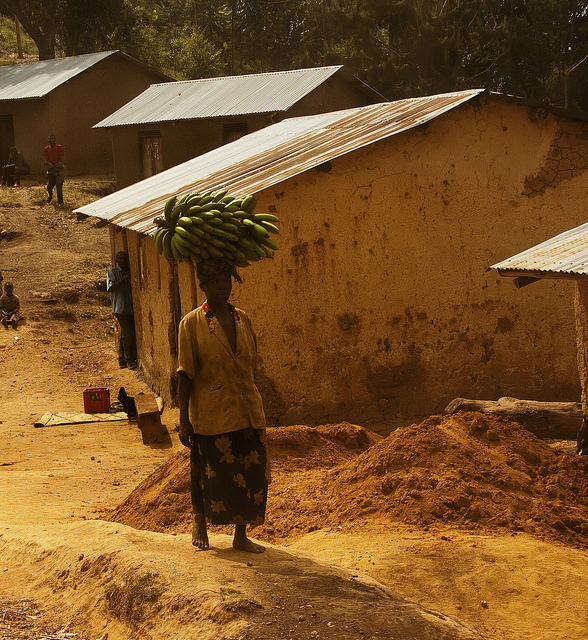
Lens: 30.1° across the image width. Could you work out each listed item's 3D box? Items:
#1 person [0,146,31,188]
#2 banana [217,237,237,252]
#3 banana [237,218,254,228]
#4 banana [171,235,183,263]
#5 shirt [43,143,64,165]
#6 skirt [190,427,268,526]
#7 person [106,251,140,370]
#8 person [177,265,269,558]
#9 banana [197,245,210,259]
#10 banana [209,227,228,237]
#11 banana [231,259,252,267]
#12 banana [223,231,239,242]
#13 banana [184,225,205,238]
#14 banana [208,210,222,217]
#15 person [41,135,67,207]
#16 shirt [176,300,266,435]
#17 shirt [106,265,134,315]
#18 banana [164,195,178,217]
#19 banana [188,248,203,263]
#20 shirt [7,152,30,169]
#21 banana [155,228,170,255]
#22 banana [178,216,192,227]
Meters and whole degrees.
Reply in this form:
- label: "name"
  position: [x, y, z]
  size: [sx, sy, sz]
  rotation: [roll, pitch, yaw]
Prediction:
- label: "person"
  position: [-6.395, -3.523, 24.988]
  size: [0.594, 0.932, 1.083]
  rotation: [-2, 6, -7]
- label: "banana"
  position: [-0.396, -0.466, 6.831]
  size: [0.164, 0.053, 0.039]
  rotation: [23, -3, 13]
- label: "banana"
  position: [-0.312, -0.622, 6.960]
  size: [0.097, 0.029, 0.039]
  rotation: [14, -23, 7]
- label: "banana"
  position: [-0.739, -0.433, 6.925]
  size: [0.065, 0.223, 0.045]
  rotation: [-7, -12, 4]
- label: "shirt"
  position: [-4.986, -3.460, 22.774]
  size: [0.350, 0.401, 0.284]
  rotation: [-3, 7, -16]
- label: "skirt"
  position: [-0.368, 0.937, 6.944]
  size: [0.474, 0.731, 0.347]
  rotation: [-5, 10, -1]
- label: "person"
  position: [-2.425, -0.132, 15.642]
  size: [0.403, 1.742, 0.720]
  rotation: [-2, 7, -8]
- label: "person"
  position: [-0.448, 0.571, 6.859]
  size: [0.543, 1.832, 0.364]
  rotation: [-1, 6, -2]
- label: "banana"
  position: [-0.555, -0.422, 6.791]
  size: [0.046, 0.019, 0.146]
  rotation: [-25, 31, -9]
- label: "banana"
  position: [-0.461, -0.543, 6.860]
  size: [0.158, 0.036, 0.043]
  rotation: [22, 29, -56]
- label: "banana"
  position: [-0.330, -0.365, 6.929]
  size: [0.055, 0.043, 0.151]
  rotation: [16, -5, -40]
- label: "banana"
  position: [-0.381, -0.528, 6.866]
  size: [0.037, 0.029, 0.111]
  rotation: [17, 9, -33]
- label: "banana"
  position: [-0.619, -0.566, 6.853]
  size: [0.040, 0.062, 0.170]
  rotation: [-17, 32, -26]
- label: "banana"
  position: [-0.496, -0.683, 6.932]
  size: [0.093, 0.028, 0.034]
  rotation: [12, 28, 35]
- label: "person"
  position: [-5.036, -3.158, 23.069]
  size: [0.378, 1.500, 1.181]
  rotation: [-2, 7, -13]
- label: "shirt"
  position: [-0.457, 0.297, 6.825]
  size: [0.513, 0.800, 0.254]
  rotation: [-2, 7, -8]
- label: "shirt"
  position: [-2.423, -0.426, 15.373]
  size: [0.349, 0.712, 0.303]
  rotation: [-2, 7, -8]
- label: "banana"
  position: [-0.806, -0.742, 7.118]
  size: [0.067, 0.128, 0.188]
  rotation: [-2, 6, -7]
- label: "banana"
  position: [-0.609, -0.410, 6.808]
  size: [0.037, 0.036, 0.139]
  rotation: [-17, 35, -37]
- label: "shirt"
  position: [-6.280, -3.690, 25.028]
  size: [0.261, 0.464, 0.412]
  rotation: [2, 33, 6]
- label: "banana"
  position: [-0.864, -0.513, 7.092]
  size: [0.039, 0.146, 0.116]
  rotation: [9, -13, -28]
- label: "banana"
  position: [-0.683, -0.628, 6.926]
  size: [0.032, 0.059, 0.098]
  rotation: [26, -3, -18]
